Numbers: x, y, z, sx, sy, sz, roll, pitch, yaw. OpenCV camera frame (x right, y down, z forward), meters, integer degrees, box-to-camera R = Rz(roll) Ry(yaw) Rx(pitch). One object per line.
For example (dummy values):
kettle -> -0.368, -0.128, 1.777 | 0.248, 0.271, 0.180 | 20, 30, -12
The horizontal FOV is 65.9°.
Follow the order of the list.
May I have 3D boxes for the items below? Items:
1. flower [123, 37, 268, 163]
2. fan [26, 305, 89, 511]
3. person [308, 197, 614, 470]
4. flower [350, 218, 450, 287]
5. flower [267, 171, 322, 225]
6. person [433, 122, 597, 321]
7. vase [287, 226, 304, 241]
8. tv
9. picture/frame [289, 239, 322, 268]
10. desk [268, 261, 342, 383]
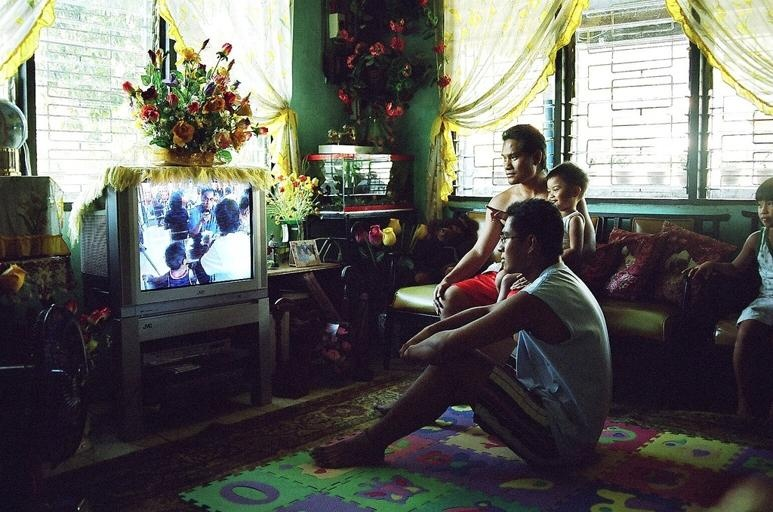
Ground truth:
flower -> -1.154, -0.858, 3.831 | 0.815, 0.633, 0.870 | -9, 9, 27
fan -> -1.521, 0.717, 2.808 | 0.263, 0.838, 0.838 | -7, 11, -28
person -> 0.361, 0.397, 3.187 | 1.537, 1.312, 1.096 | -1, 0, 41
flower -> 0.069, -0.033, 4.743 | 0.594, 0.499, 0.617 | 7, 2, -39
flower -> -0.703, -0.421, 4.551 | 0.392, 0.391, 0.398 | -1, 1, -24
person -> 0.744, -0.035, 3.707 | 0.942, 1.460, 0.655 | -3, 8, -13
vase -> -0.680, -0.165, 4.522 | 0.110, 0.111, 0.108 | 0, -2, -5
tv -> -1.316, -0.080, 3.967 | 1.251, 1.142, 0.918 | -4, 7, -40
picture/frame -> -0.611, -0.012, 4.446 | 0.075, 0.182, 0.202 | -22, -12, 37
desk -> -0.582, 0.486, 4.175 | 0.459, 0.767, 0.838 | -1, 3, 25
